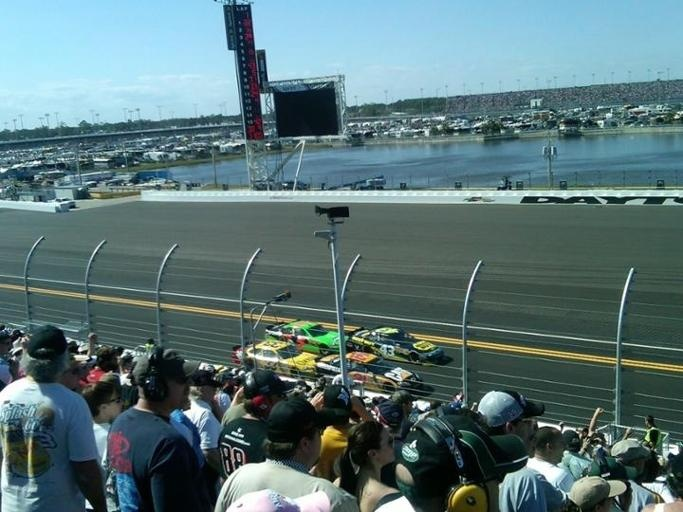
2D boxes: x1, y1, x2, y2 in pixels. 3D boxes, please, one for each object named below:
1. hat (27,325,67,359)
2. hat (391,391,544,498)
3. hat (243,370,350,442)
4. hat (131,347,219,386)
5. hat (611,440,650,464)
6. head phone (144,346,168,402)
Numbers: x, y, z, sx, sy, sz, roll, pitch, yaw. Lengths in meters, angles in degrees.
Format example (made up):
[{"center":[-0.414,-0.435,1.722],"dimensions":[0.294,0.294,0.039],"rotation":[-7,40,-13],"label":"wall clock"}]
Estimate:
[{"center":[-2.153,0.619,5.461],"dimensions":[0.201,0.142,0.268],"rotation":[5,16,-28],"label":"hat"},{"center":[0.827,1.164,4.664],"dimensions":[0.869,0.313,0.566],"rotation":[-13,5,-27],"label":"hat"},{"center":[-0.195,1.153,5.366],"dimensions":[0.733,0.345,0.450],"rotation":[-16,22,-24],"label":"hat"},{"center":[-1.220,0.845,5.498],"dimensions":[0.491,0.162,0.300],"rotation":[1,22,-29],"label":"hat"},{"center":[2.645,1.769,6.848],"dimensions":[0.315,0.111,0.209],"rotation":[-7,11,-23],"label":"hat"},{"center":[-1.325,0.862,5.370],"dimensions":[0.153,0.347,0.335],"rotation":[-1,-10,-3],"label":"head phone"}]
